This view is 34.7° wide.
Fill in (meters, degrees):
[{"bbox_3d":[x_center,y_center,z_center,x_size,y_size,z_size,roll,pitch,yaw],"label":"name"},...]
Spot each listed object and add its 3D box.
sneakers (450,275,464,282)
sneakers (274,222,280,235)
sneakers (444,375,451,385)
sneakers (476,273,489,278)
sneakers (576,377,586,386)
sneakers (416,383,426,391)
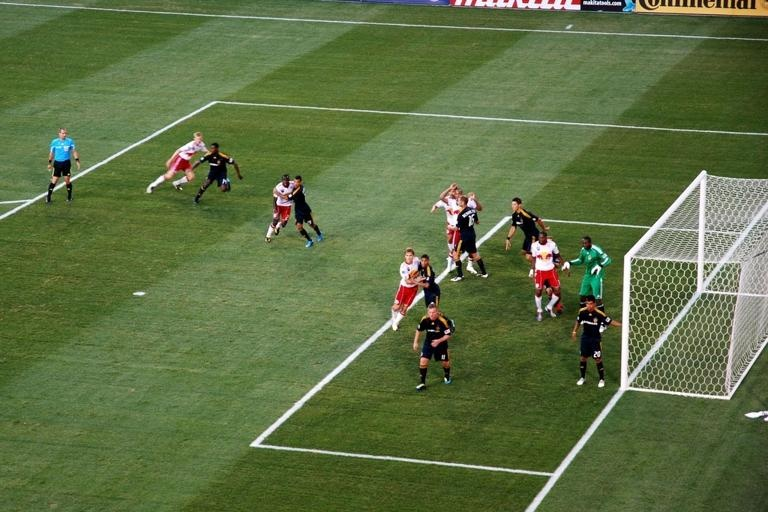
[{"bbox_3d":[1.993,0.612,33.007,0.382,0.108,0.121,-3,11,27],"label":"sneakers"},{"bbox_3d":[-2.980,-0.808,35.099,0.160,0.142,0.345,15,36,-6],"label":"sneakers"},{"bbox_3d":[1.508,2.948,29.098,0.189,0.174,0.223,-1,5,0],"label":"sneakers"},{"bbox_3d":[2.687,0.518,33.222,0.341,0.097,0.118,4,13,32],"label":"sneakers"},{"bbox_3d":[4.638,2.964,28.871,0.115,0.076,0.253,9,13,30],"label":"sneakers"},{"bbox_3d":[0.882,3.095,28.910,0.241,0.077,0.346,2,6,9],"label":"sneakers"}]
